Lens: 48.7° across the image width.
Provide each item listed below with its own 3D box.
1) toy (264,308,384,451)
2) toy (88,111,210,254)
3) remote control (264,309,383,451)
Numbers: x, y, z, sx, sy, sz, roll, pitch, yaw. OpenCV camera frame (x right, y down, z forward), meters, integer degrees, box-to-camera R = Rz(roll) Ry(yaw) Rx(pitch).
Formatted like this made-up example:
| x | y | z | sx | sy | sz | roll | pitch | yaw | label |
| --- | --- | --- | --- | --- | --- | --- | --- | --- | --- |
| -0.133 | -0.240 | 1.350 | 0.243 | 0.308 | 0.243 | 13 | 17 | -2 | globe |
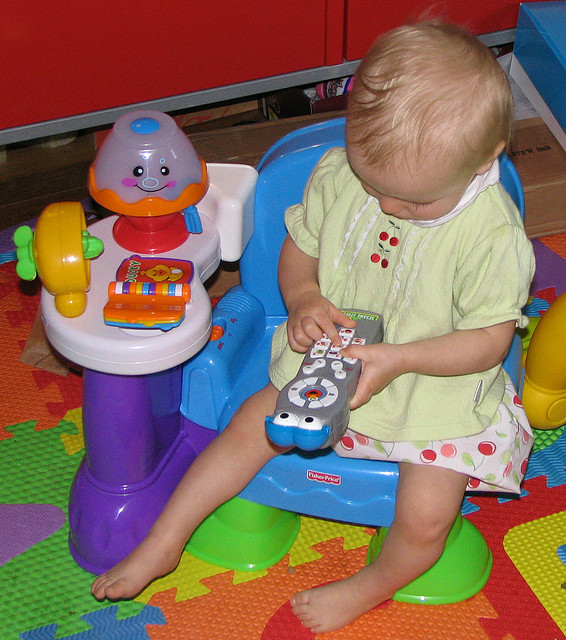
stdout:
| x | y | z | sx | sy | sz | roll | pitch | yaw | label |
| --- | --- | --- | --- | --- | --- | --- | --- | --- | --- |
| 0.050 | 0.060 | 0.671 | 0.068 | 0.044 | 0.199 | 13 | 42 | 20 | toy |
| -0.151 | -0.177 | 0.827 | 0.204 | 0.168 | 0.173 | -1 | 43 | -6 | toy |
| 0.049 | 0.060 | 0.667 | 0.072 | 0.046 | 0.198 | 15 | 43 | 19 | remote control |
